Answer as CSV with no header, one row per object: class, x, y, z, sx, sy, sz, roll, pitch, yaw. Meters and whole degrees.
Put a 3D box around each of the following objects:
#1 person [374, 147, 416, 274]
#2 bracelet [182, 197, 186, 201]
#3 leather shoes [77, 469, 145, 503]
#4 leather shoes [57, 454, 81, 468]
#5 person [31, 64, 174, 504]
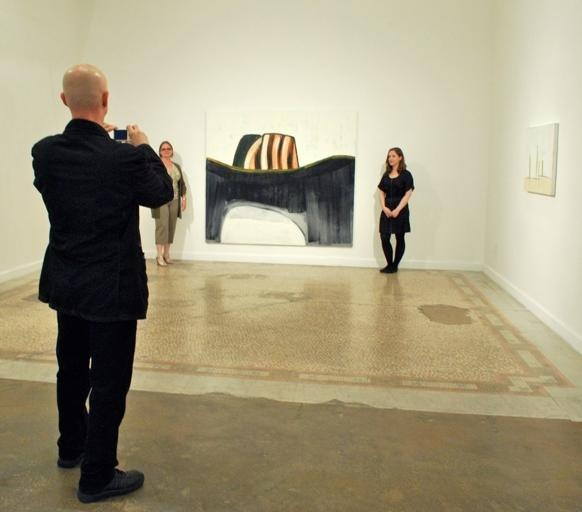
person,1.512,-0.657,6.892,0.488,1.799,0.307,3,8,14
bracelet,-1.719,-0.921,7.586,0.036,0.084,0.047,-1,6,13
leather shoes,-0.770,0.943,2.017,0.260,0.155,0.100,1,1,-38
leather shoes,-1.040,0.968,2.206,0.114,0.062,0.046,2,9,-22
person,-0.830,0.117,2.048,0.562,1.805,0.397,4,8,20
